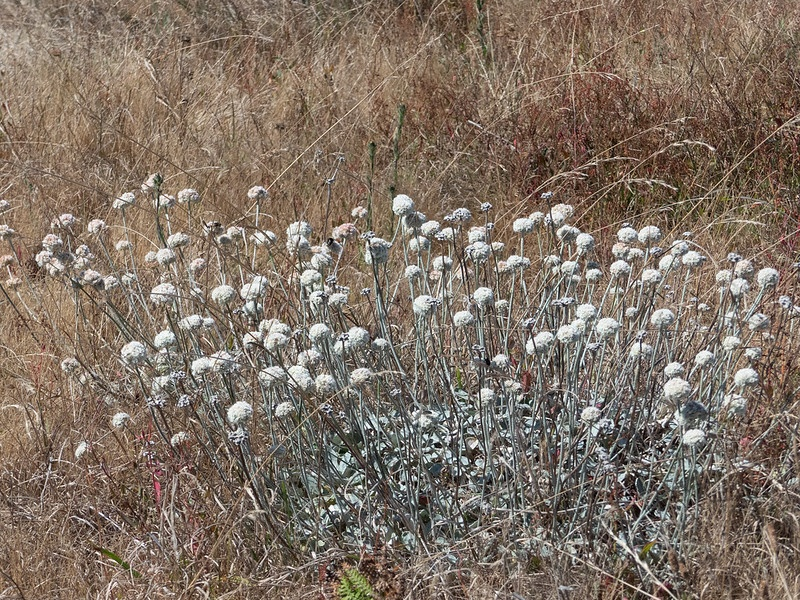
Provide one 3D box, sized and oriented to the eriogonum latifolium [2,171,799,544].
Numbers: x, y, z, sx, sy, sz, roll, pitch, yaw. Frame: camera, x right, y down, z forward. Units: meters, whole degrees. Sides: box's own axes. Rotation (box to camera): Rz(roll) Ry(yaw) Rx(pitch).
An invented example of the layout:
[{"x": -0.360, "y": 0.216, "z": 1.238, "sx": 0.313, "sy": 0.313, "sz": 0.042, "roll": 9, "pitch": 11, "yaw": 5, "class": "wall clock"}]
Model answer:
[{"x": 0.082, "y": 0.186, "z": 5.137, "sx": 3.442, "sy": 1.337, "sz": 1.942, "roll": 6, "pitch": 46, "yaw": 12, "class": "eriogonum latifolium"}]
